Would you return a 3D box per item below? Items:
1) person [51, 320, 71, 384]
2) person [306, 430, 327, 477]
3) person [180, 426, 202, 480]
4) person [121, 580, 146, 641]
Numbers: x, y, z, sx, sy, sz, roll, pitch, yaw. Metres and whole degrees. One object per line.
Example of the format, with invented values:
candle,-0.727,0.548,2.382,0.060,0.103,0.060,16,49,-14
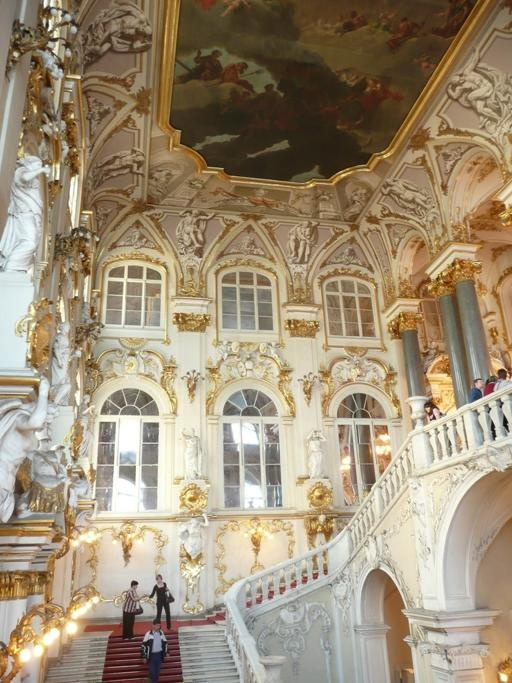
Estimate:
person,-2.210,0.145,5.853,0.212,0.676,0.130,25,32,34
person,1.667,3.173,14.565,0.529,1.352,0.350,-3,-21,4
person,-1.715,3.007,13.848,0.524,1.335,0.287,3,-22,-10
person,-2.450,5.323,10.319,0.341,1.050,0.886,4,-21,-12
